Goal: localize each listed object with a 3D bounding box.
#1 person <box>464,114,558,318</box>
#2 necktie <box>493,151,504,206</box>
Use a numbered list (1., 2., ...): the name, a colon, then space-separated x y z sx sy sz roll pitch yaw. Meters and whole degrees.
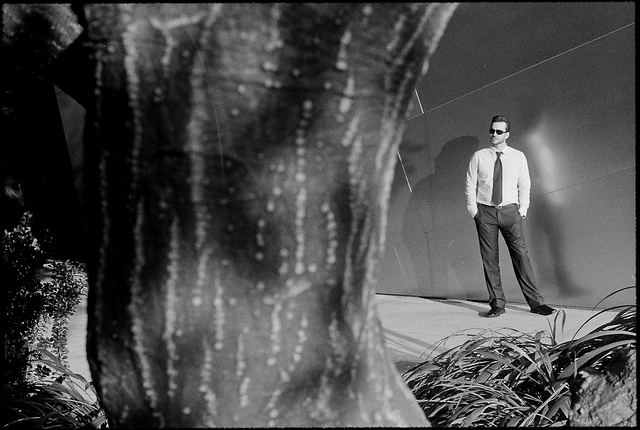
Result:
1. person: 1.237 0.043 4.482 0.272 1.336 0.471 2 -17 -37
2. necktie: 1.190 -0.252 4.479 0.031 0.381 0.083 0 1 -39
